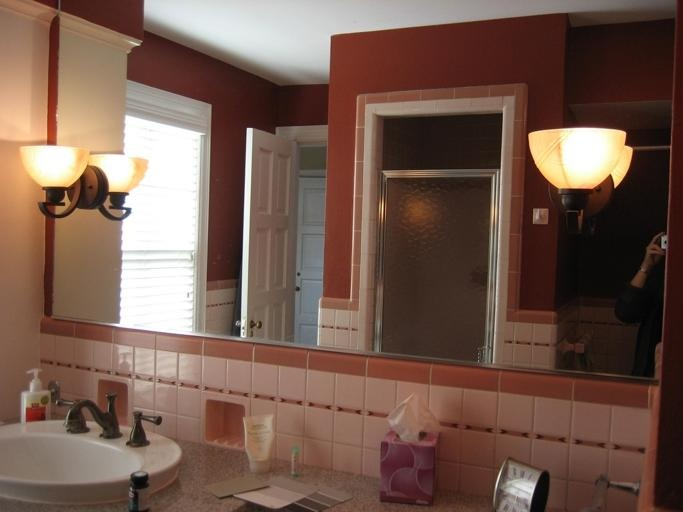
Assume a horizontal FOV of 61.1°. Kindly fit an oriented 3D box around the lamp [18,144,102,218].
[{"bbox_3d":[-0.996,-0.252,2.053,0.211,0.260,0.256,9,12,43],"label":"lamp"}]

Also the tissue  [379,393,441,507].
[{"bbox_3d":[0.181,0.505,1.520,0.149,0.264,0.102,2,2,11],"label":"tissue "}]

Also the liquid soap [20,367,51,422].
[{"bbox_3d":[-1.016,0.464,1.928,0.085,0.165,0.158,1,2,-23],"label":"liquid soap"}]

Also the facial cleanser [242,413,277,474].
[{"bbox_3d":[-0.233,0.528,1.647,0.124,0.205,0.125,1,-10,-8],"label":"facial cleanser"}]

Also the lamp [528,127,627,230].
[{"bbox_3d":[0.569,-0.180,1.493,0.227,0.256,0.230,2,-2,5],"label":"lamp"}]

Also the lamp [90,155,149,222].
[{"bbox_3d":[-0.816,-0.237,2.105,0.185,0.221,0.192,2,0,-21],"label":"lamp"}]

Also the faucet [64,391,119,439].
[{"bbox_3d":[-0.766,0.487,1.774,0.088,0.147,0.233,-3,-8,30],"label":"faucet"}]
